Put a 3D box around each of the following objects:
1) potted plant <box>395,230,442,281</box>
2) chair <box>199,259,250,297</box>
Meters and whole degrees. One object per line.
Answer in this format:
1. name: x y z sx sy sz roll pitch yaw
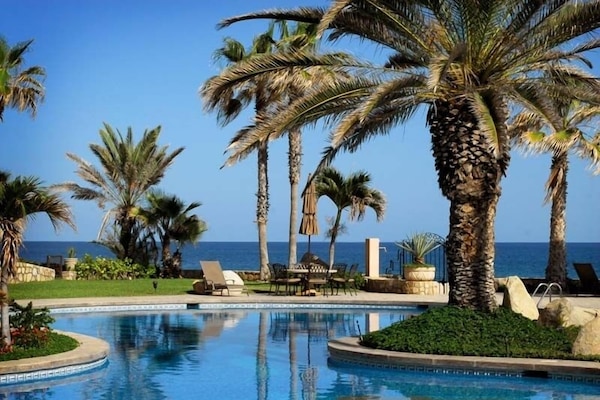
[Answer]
1. potted plant: 4.697 2.223 24.957 1.643 2.007 1.166 2 2 29
2. chair: -3.009 3.058 23.815 1.249 1.297 1.819 2 -2 -44
